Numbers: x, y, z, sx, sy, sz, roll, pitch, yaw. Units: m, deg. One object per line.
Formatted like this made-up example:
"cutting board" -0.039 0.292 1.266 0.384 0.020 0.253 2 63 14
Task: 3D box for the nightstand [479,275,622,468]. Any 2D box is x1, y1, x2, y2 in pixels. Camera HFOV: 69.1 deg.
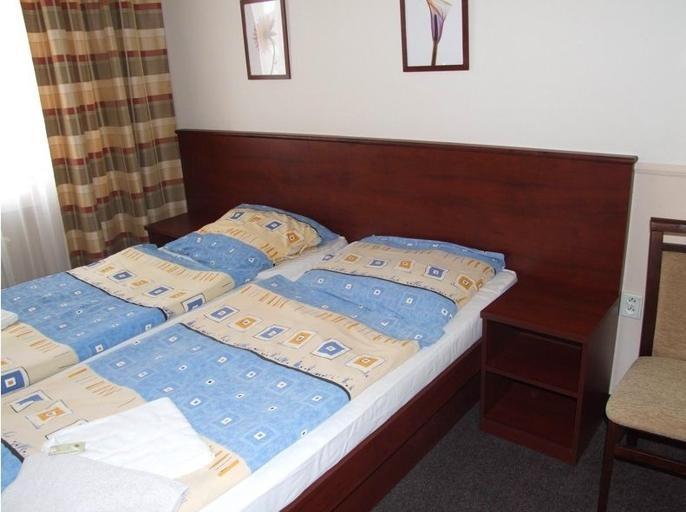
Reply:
"nightstand" 1.081 0.491 2.827 0.795 0.948 0.952 10 21 37

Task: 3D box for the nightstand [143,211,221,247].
"nightstand" -1.278 -0.249 3.955 0.380 0.199 0.371 17 29 30

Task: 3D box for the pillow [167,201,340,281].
"pillow" -0.558 -0.101 3.262 0.714 0.143 0.691 15 27 36

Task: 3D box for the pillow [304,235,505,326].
"pillow" 0.356 0.074 2.794 0.729 0.121 0.553 13 27 32
